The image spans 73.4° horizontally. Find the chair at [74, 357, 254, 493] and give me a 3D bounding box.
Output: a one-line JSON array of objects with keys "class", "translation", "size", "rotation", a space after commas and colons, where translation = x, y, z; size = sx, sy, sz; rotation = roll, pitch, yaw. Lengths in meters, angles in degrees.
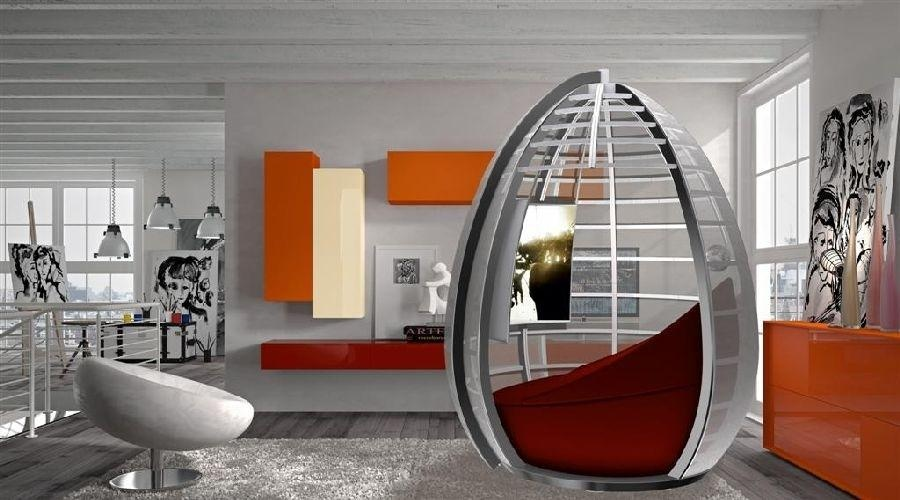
[{"class": "chair", "translation": [-2.475, 1.449, 5.306], "size": [1.409, 1.103, 0.654], "rotation": [0, 3, 5]}]

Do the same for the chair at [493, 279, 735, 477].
[{"class": "chair", "translation": [1.316, 1.011, 4.890], "size": [1.933, 1.385, 1.392], "rotation": [-5, -4, 19]}]

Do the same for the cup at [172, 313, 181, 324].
[{"class": "cup", "translation": [-4.590, 1.142, 10.123], "size": [0.171, 0.169, 0.161], "rotation": [0, 0, 0]}]

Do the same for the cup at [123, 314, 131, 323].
[{"class": "cup", "translation": [-5.150, 1.097, 9.621], "size": [0.081, 0.068, 0.073], "rotation": [0, 1, 4]}]

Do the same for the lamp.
[{"class": "lamp", "translation": [-5.035, -0.759, 10.648], "size": [1.956, 1.305, 0.576], "rotation": [0, 5, 0]}]
